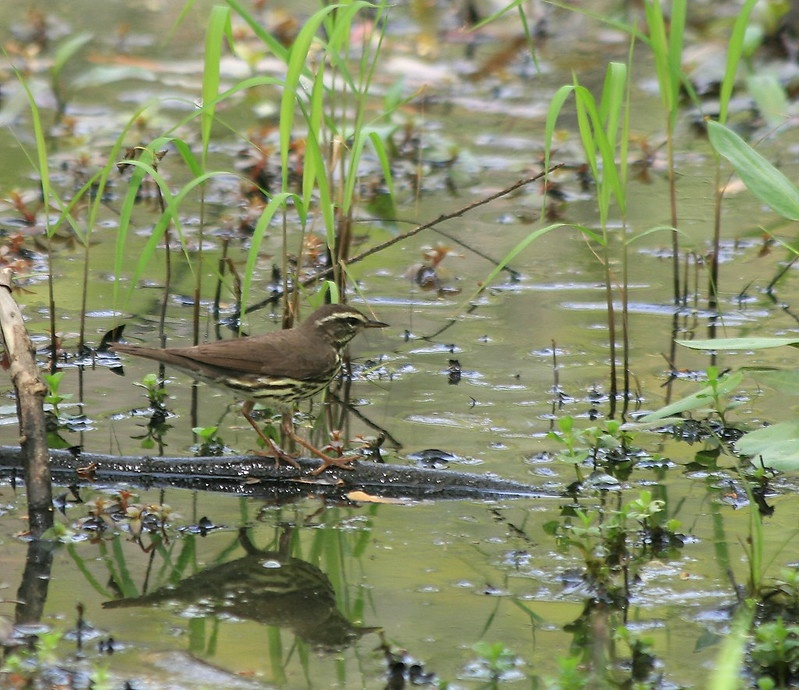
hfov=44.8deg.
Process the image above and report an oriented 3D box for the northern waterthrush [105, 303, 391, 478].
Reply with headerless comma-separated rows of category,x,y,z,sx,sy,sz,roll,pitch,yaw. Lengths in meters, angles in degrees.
northern waterthrush,-0.753,0.167,5.461,2.004,0.656,0.463,0,12,24
